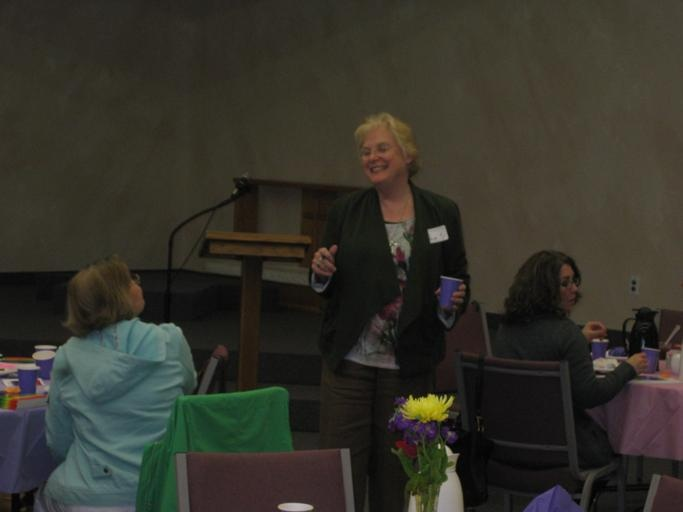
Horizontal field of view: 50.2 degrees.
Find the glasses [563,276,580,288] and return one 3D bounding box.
[{"bbox_3d":[1.140,0.129,3.637,0.068,0.024,0.071,3,-10,-33],"label":"glasses"}]

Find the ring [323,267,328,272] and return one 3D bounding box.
[{"bbox_3d":[-0.067,0.053,3.072,0.018,0.018,0.004,-2,-4,-3],"label":"ring"}]

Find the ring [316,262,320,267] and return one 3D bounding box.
[{"bbox_3d":[-0.097,0.036,3.074,0.020,0.020,0.013,1,0,-2],"label":"ring"}]

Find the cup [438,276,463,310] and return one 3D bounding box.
[{"bbox_3d":[0.457,0.154,3.028,0.109,0.132,0.114,8,-1,0],"label":"cup"}]

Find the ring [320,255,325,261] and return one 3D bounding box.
[{"bbox_3d":[-0.079,0.006,3.061,0.020,0.015,0.006,1,0,-4],"label":"ring"}]

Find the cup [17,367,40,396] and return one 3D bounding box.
[{"bbox_3d":[-1.492,0.587,3.473,0.113,0.150,0.117,0,2,0],"label":"cup"}]

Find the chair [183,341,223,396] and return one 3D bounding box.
[{"bbox_3d":[-0.626,0.509,3.379,0.185,0.183,0.113,14,-1,42],"label":"chair"}]

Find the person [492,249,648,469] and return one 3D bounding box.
[{"bbox_3d":[1.127,0.721,3.752,0.692,1.442,0.624,-5,6,-30],"label":"person"}]
